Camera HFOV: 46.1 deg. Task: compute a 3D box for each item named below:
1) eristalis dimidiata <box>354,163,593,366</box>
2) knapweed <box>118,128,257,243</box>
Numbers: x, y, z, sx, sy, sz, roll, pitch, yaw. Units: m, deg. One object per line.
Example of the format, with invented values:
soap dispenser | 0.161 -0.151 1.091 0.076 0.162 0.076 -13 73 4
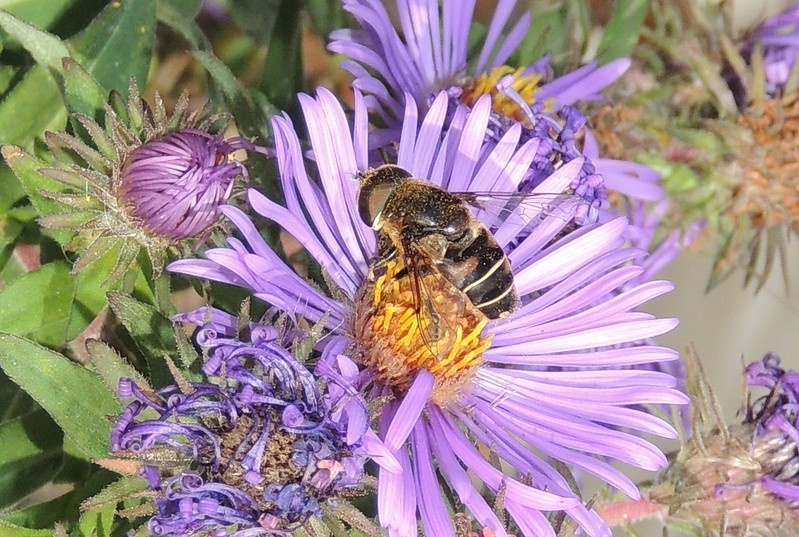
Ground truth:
eristalis dimidiata | 0.116 -0.051 1.646 0.329 0.253 0.398 18 106 40
knapweed | -0.325 -0.131 1.423 0.176 0.069 0.149 -7 99 -29
